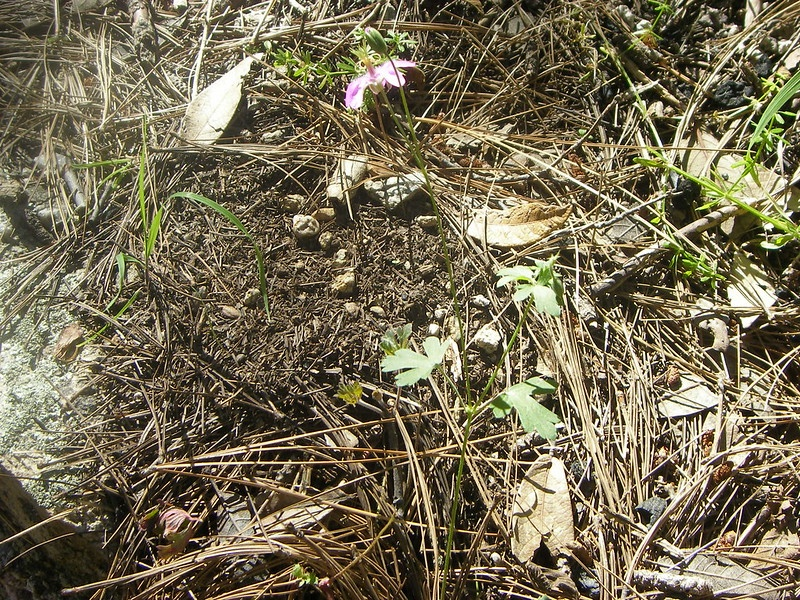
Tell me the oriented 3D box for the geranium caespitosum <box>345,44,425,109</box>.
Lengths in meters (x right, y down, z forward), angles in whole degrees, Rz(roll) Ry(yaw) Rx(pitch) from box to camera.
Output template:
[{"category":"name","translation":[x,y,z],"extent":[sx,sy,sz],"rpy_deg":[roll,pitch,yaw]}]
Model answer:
[{"category":"geranium caespitosum","translation":[-0.118,-1.041,3.193],"extent":[0.294,0.303,0.131],"rpy_deg":[-27,90,13]}]
